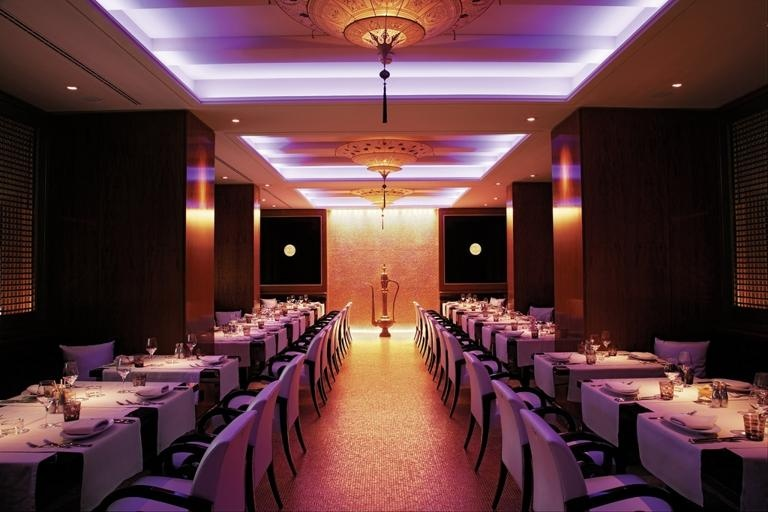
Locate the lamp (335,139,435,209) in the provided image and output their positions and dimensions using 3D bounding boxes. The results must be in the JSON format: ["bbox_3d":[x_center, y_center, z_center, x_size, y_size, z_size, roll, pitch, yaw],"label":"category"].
[{"bbox_3d":[0.004,-1.296,9.704,1.779,1.138,1.815,-1,1,40],"label":"lamp"}]

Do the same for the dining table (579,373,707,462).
[{"bbox_3d":[2.480,1.569,5.543,0.929,0.457,0.916,-1,-1,-16],"label":"dining table"}]

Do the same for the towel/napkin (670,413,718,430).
[{"bbox_3d":[2.764,1.479,4.865,0.192,0.058,0.192,0,3,7],"label":"towel/napkin"}]

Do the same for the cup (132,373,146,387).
[{"bbox_3d":[-2.653,1.363,5.949,0.128,0.129,0.139,0,-11,0],"label":"cup"}]

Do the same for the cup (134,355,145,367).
[{"bbox_3d":[-2.872,1.249,6.459,0.115,0.121,0.145,0,-8,-1],"label":"cup"}]

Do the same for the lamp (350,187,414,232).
[{"bbox_3d":[-0.017,-1.044,12.200,1.384,0.775,1.415,-3,-7,33],"label":"lamp"}]

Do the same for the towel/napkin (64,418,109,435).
[{"bbox_3d":[-2.613,1.516,4.848,0.192,0.063,0.200,-2,-5,11],"label":"towel/napkin"}]
